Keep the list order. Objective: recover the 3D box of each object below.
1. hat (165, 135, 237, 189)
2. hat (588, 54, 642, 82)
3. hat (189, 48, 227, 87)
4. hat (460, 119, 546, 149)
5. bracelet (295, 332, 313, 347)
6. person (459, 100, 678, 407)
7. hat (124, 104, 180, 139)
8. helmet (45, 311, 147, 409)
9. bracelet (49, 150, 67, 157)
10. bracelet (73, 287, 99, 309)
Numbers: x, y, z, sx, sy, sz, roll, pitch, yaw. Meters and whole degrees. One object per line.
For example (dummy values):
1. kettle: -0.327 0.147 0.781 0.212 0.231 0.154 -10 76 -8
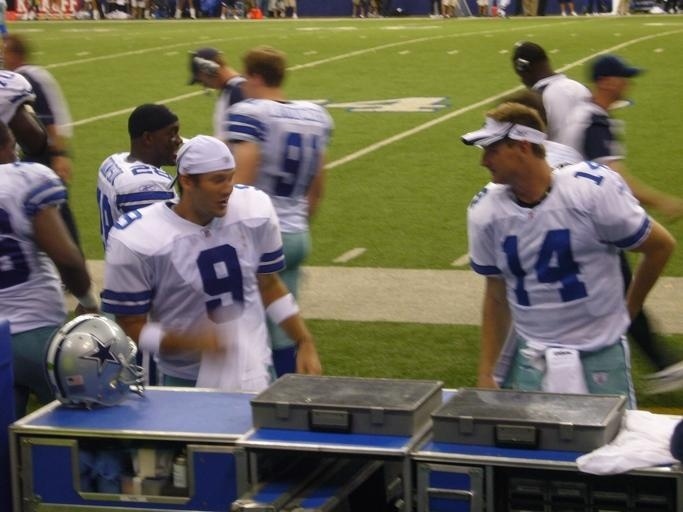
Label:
1. hat: -0.617 -0.422 3.841 0.242 0.144 0.170 -3 15 18
2. hat: 1.683 -1.137 5.322 0.257 0.117 0.160 -11 25 5
3. hat: -0.889 -1.287 5.960 0.298 0.273 0.203 -1 22 -26
4. hat: 0.717 -0.536 3.863 0.283 0.077 0.154 4 5 2
5. bracelet: -0.181 0.400 4.181 0.102 0.031 0.128 3 -3 -2
6. person: 0.951 0.015 3.868 0.818 1.352 0.464 2 16 14
7. hat: -1.054 -0.764 4.865 0.258 0.160 0.182 -11 5 -8
8. helmet: -0.957 0.405 3.539 0.415 0.309 0.309 -7 8 -32
9. bracelet: -1.854 -0.671 5.680 0.078 0.061 0.054 -13 11 -1
10. bracelet: -1.261 0.204 4.339 0.100 0.093 0.109 -11 -2 30
